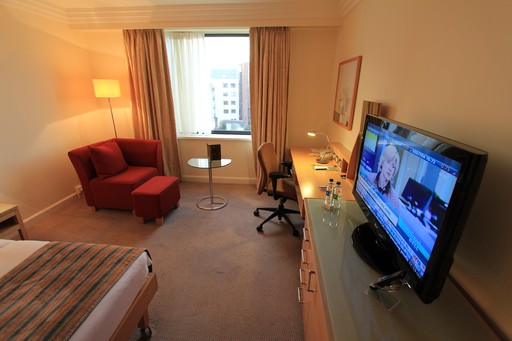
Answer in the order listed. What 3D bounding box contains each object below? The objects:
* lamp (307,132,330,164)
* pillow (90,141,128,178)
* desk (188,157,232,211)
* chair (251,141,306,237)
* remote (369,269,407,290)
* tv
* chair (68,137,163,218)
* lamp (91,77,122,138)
[{"bbox_3d":[0.932,-0.337,4.929,0.420,0.563,0.275,2,32,6],"label":"lamp"},{"bbox_3d":[-2.118,-0.144,4.739,0.232,0.370,0.446,7,19,14],"label":"pillow"},{"bbox_3d":[-0.743,0.106,5.064,0.574,0.741,0.839,-10,21,-24],"label":"desk"},{"bbox_3d":[0.315,0.137,4.776,1.033,1.304,1.057,2,19,9],"label":"chair"},{"bbox_3d":[0.966,0.812,2.440,0.216,0.055,0.141,-29,-1,10],"label":"remote"},{"bbox_3d":[1.248,0.321,2.464,0.429,1.077,1.106,7,20,-7],"label":"tv"},{"bbox_3d":[-1.960,0.016,5.089,1.123,1.141,1.117,0,18,1],"label":"chair"},{"bbox_3d":[-2.349,-0.967,5.356,0.378,0.990,0.522,-9,21,-20],"label":"lamp"}]
